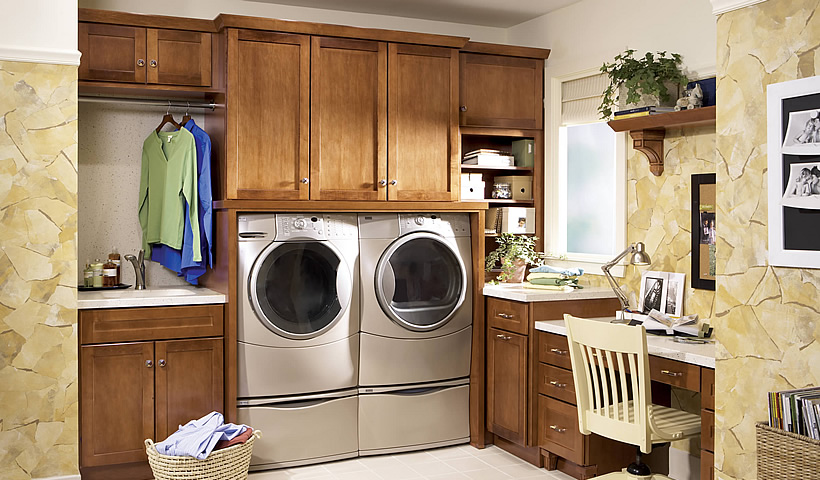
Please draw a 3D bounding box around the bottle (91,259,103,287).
[{"bbox_3d":[-2.518,0.287,4.614,0.082,0.190,0.082,-2,3,0],"label":"bottle"}]

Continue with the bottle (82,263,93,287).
[{"bbox_3d":[-2.597,0.285,4.624,0.074,0.187,0.157,-3,3,-31],"label":"bottle"}]

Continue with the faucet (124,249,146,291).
[{"bbox_3d":[-2.269,0.243,4.739,0.161,0.321,0.228,-3,3,-26],"label":"faucet"}]

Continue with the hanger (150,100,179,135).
[{"bbox_3d":[-2.046,-1.020,4.763,0.338,0.243,0.038,3,9,38],"label":"hanger"}]

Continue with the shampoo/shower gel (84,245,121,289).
[{"bbox_3d":[-2.450,0.262,4.688,0.347,0.314,0.217,3,-4,-25],"label":"shampoo/shower gel"}]

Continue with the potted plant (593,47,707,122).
[{"bbox_3d":[1.872,-1.162,4.404,0.657,0.424,0.633,-3,4,-30],"label":"potted plant"}]

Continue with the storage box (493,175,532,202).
[{"bbox_3d":[0.969,-0.487,5.326,0.218,0.262,0.381,-2,4,-20],"label":"storage box"}]

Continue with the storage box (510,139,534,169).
[{"bbox_3d":[1.045,-0.779,5.241,0.181,0.286,0.311,0,0,-19],"label":"storage box"}]

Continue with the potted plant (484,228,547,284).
[{"bbox_3d":[0.933,0.131,5.125,0.423,0.433,0.488,-5,6,-43],"label":"potted plant"}]

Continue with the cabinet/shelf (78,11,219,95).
[{"bbox_3d":[-2.020,-1.437,4.388,0.806,0.419,0.269,0,-2,-19],"label":"cabinet/shelf"}]

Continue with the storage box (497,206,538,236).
[{"bbox_3d":[0.968,-0.154,5.217,0.422,0.276,0.231,2,0,-19],"label":"storage box"}]

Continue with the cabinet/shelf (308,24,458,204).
[{"bbox_3d":[-0.295,-0.999,4.826,1.437,1.290,0.519,-6,12,-31],"label":"cabinet/shelf"}]

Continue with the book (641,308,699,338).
[{"bbox_3d":[1.830,0.586,3.985,0.312,0.099,0.227,4,8,32],"label":"book"}]
